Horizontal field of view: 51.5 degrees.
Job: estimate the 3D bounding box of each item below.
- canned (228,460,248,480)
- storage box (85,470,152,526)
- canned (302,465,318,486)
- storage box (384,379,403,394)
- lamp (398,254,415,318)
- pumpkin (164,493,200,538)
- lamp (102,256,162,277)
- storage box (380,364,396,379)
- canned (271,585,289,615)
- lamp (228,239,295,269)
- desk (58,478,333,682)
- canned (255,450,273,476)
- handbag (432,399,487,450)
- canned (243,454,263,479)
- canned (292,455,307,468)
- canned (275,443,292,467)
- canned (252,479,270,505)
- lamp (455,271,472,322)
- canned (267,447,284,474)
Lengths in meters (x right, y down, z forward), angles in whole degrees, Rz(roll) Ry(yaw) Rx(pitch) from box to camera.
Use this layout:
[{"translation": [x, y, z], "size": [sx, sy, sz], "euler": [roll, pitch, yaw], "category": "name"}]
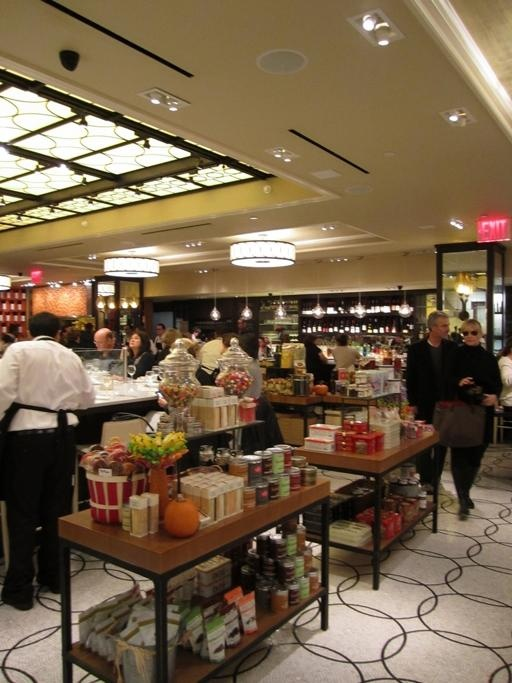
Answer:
[{"translation": [-0.077, 0.552, 2.303], "size": [0.090, 0.086, 0.087], "euler": [1, 3, -25], "category": "canned"}, {"translation": [-0.546, 0.587, 2.042], "size": [0.212, 0.144, 0.204], "euler": [4, -8, -27], "category": "storage box"}, {"translation": [0.264, 0.666, 2.632], "size": [0.091, 0.061, 0.082], "euler": [3, 4, 24], "category": "canned"}, {"translation": [1.015, 0.331, 4.004], "size": [0.114, 0.122, 0.196], "euler": [4, 2, 42], "category": "storage box"}, {"translation": [3.287, -1.178, 11.734], "size": [0.366, 1.311, 1.148], "euler": [0, -1, 16], "category": "lamp"}, {"translation": [-0.253, 0.615, 1.912], "size": [0.129, 0.161, 0.125], "euler": [1, -6, -44], "category": "pumpkin"}, {"translation": [-2.168, -1.312, 9.273], "size": [0.856, 0.317, 0.431], "euler": [1, -1, -25], "category": "lamp"}, {"translation": [0.984, 0.225, 3.963], "size": [0.117, 0.101, 0.112], "euler": [0, 3, -7], "category": "storage box"}, {"translation": [0.112, 1.187, 2.459], "size": [0.100, 0.104, 0.097], "euler": [1, 4, 15], "category": "canned"}, {"translation": [0.093, -1.324, 7.687], "size": [0.900, 0.383, 0.592], "euler": [1, -1, -15], "category": "lamp"}, {"translation": [-0.227, 1.073, 2.363], "size": [0.618, 0.780, 1.279], "euler": [0, -1, 32], "category": "desk"}, {"translation": [0.036, 0.565, 2.465], "size": [0.086, 0.124, 0.084], "euler": [-3, 5, -39], "category": "canned"}, {"translation": [1.753, 0.711, 4.593], "size": [0.416, 0.371, 0.126], "euler": [0, -2, 12], "category": "handbag"}, {"translation": [0.000, 0.554, 2.358], "size": [0.084, 0.114, 0.080], "euler": [2, 8, 11], "category": "canned"}, {"translation": [0.213, 0.607, 2.661], "size": [0.058, 0.051, 0.139], "euler": [0, -1, 26], "category": "canned"}, {"translation": [0.155, 0.551, 2.592], "size": [0.099, 0.101, 0.100], "euler": [1, -1, 45], "category": "canned"}, {"translation": [0.024, 0.645, 2.272], "size": [0.082, 0.079, 0.080], "euler": [0, 1, -36], "category": "canned"}, {"translation": [3.387, -0.725, 8.643], "size": [0.128, 0.793, 0.289], "euler": [1, -2, -28], "category": "lamp"}, {"translation": [0.109, 0.567, 2.499], "size": [0.094, 0.095, 0.091], "euler": [1, 1, 20], "category": "canned"}]
